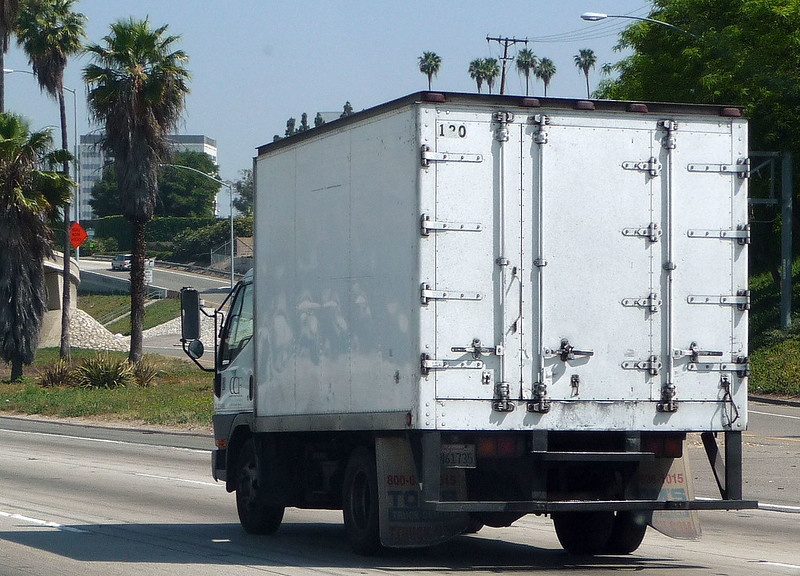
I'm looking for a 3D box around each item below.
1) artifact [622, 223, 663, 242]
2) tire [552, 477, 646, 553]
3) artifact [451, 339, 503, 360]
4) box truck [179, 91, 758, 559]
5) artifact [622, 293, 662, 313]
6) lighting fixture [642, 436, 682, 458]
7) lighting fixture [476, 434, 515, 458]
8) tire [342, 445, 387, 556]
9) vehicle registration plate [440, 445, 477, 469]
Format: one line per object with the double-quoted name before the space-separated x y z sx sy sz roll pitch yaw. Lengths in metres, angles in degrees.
"artifact" 3.757 -0.857 25.056 0.571 0.278 0.142 0 4 -6
"tire" 3.230 3.588 25.621 1.227 1.372 0.495 -1 -3 21
"artifact" 1.188 0.936 24.451 0.801 0.309 0.089 2 -3 -13
"box truck" 0.803 0.988 29.576 5.809 7.401 12.066 3 -4 -25
"artifact" 3.755 0.235 24.842 0.563 0.280 0.154 1 -1 -10
"lighting fixture" 4.125 2.481 25.069 0.400 0.466 0.110 -3 19 -6
"lighting fixture" 1.479 2.423 24.528 0.387 0.262 0.394 0 -5 -1
"tire" -0.529 3.359 25.384 0.417 1.228 1.360 -2 -31 -11
"vehicle registration plate" 0.897 2.573 24.552 0.574 0.418 0.316 3 -8 -27
